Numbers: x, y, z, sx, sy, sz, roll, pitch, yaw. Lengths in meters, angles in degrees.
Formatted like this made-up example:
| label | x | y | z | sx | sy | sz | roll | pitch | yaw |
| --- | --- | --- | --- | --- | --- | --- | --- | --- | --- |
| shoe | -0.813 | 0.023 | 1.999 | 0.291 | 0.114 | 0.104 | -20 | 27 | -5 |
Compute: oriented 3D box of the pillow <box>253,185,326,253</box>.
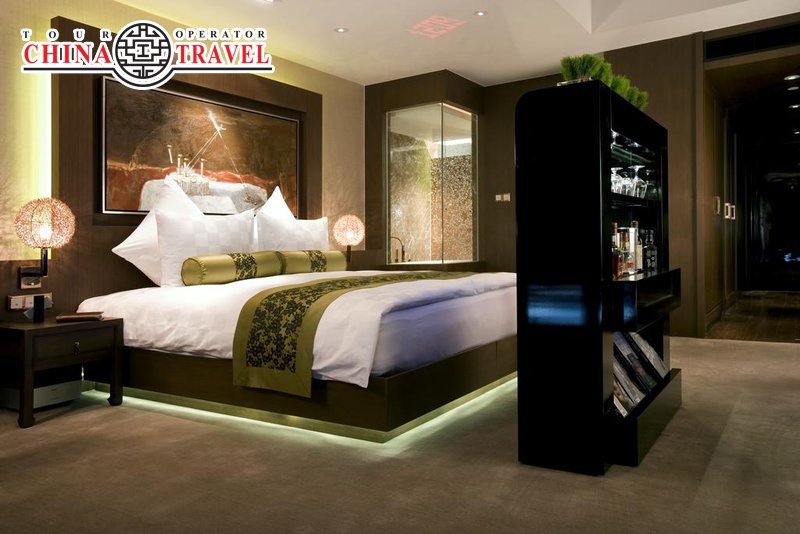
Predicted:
| label | x | y | z | sx | sy | sz | roll | pitch | yaw |
| --- | --- | --- | --- | --- | --- | --- | --- | --- | --- |
| pillow | -1.099 | -0.454 | 5.385 | 0.169 | 0.566 | 0.581 | -17 | -13 | 27 |

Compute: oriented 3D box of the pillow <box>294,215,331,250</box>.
| label | x | y | z | sx | sy | sz | roll | pitch | yaw |
| --- | --- | --- | --- | --- | --- | --- | --- | --- | --- |
| pillow | -0.874 | -0.350 | 5.543 | 0.309 | 0.316 | 0.131 | -3 | -15 | -43 |

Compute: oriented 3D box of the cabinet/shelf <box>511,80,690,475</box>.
| label | x | y | z | sx | sy | sz | roll | pitch | yaw |
| --- | --- | --- | --- | --- | --- | --- | --- | --- | --- |
| cabinet/shelf | 1.259 | 0.010 | 3.323 | 1.333 | 2.115 | 0.653 | -6 | 9 | -41 |

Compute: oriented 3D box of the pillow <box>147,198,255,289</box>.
| label | x | y | z | sx | sy | sz | roll | pitch | yaw |
| --- | --- | --- | --- | --- | --- | --- | --- | --- | --- |
| pillow | -1.693 | -0.170 | 4.613 | 0.202 | 0.505 | 0.768 | -8 | -2 | 37 |

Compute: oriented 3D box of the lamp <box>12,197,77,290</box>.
| label | x | y | z | sx | sy | sz | roll | pitch | yaw |
| --- | --- | --- | --- | --- | --- | --- | --- | --- | --- |
| lamp | -2.723 | -0.181 | 4.219 | 0.380 | 0.686 | 0.376 | -6 | 9 | -38 |

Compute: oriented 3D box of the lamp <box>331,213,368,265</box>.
| label | x | y | z | sx | sy | sz | roll | pitch | yaw |
| --- | --- | --- | --- | --- | --- | --- | --- | --- | --- |
| lamp | -0.643 | -0.349 | 6.802 | 0.375 | 0.587 | 0.902 | -1 | 7 | -7 |
